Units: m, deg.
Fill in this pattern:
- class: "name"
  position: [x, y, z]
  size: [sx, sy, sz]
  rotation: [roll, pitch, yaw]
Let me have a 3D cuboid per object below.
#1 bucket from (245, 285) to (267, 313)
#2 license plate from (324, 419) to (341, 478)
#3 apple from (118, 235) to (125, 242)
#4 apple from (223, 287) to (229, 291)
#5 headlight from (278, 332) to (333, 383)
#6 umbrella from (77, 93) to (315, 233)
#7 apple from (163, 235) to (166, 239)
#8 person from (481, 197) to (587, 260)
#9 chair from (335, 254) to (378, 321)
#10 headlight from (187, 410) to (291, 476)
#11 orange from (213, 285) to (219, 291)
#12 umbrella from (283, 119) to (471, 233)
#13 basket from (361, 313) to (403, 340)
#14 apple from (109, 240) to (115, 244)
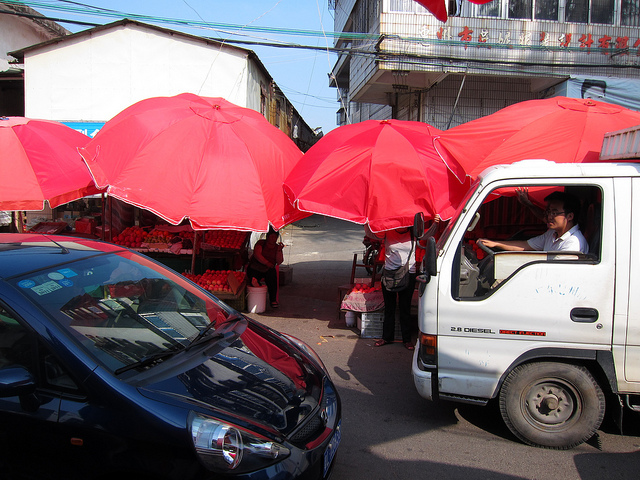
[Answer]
- class: "bucket"
  position: [-1.042, 1.081, 10.422]
  size: [0.446, 0.466, 0.457]
  rotation: [1, 0, 0]
- class: "license plate"
  position: [0.092, 1.845, 4.926]
  size: [0.026, 0.237, 0.359]
  rotation: [5, 12, 22]
- class: "apple"
  position: [-3.868, -0.036, 11.021]
  size: [0.104, 0.102, 0.134]
  rotation: [-3, 12, -20]
- class: "apple"
  position: [-1.710, 0.887, 10.224]
  size: [0.089, 0.043, 0.071]
  rotation: [-1, 11, -9]
- class: "headlight"
  position: [-0.148, 1.193, 6.019]
  size: [0.579, 0.156, 0.319]
  rotation: [46, 0, 12]
- class: "umbrella"
  position: [-2.346, -1.411, 10.714]
  size: [4.233, 2.266, 3.560]
  rotation: [3, 10, 0]
- class: "apple"
  position: [-3.043, -0.055, 11.050]
  size: [0.047, 0.054, 0.055]
  rotation: [-3, 12, -16]
- class: "person"
  position: [2.677, -0.111, 6.315]
  size: [0.635, 0.649, 0.919]
  rotation: [7, 0, -29]
- class: "chair"
  position: [0.651, 0.824, 9.982]
  size: [0.761, 0.956, 0.678]
  rotation: [-10, 8, -24]
- class: "headlight"
  position: [-0.654, 1.599, 4.453]
  size: [0.795, 0.408, 0.255]
  rotation: [1, 11, 1]
- class: "orange"
  position: [-1.893, 0.868, 10.251]
  size: [0.076, 0.074, 0.072]
  rotation: [32, 36, 27]
- class: "umbrella"
  position: [0.895, -1.026, 9.316]
  size: [2.719, 1.798, 2.313]
  rotation: [2, 9, 3]
- class: "basket"
  position: [0.954, 1.355, 8.870]
  size: [0.618, 0.376, 0.311]
  rotation: [1, 11, 1]
- class: "apple"
  position: [-3.468, 0.028, 9.415]
  size: [0.064, 0.061, 0.058]
  rotation: [15, 9, 16]
